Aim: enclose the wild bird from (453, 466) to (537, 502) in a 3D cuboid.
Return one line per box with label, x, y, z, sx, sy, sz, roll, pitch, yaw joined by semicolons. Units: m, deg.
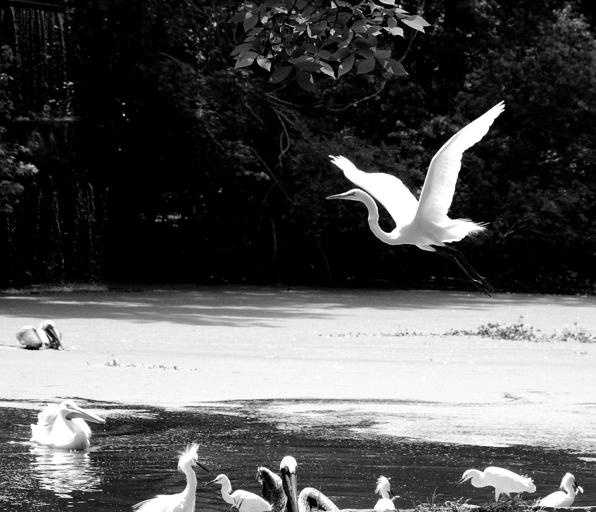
wild bird;1.956;2.227;13.057;0.740;0.195;0.298;-1;49;3
